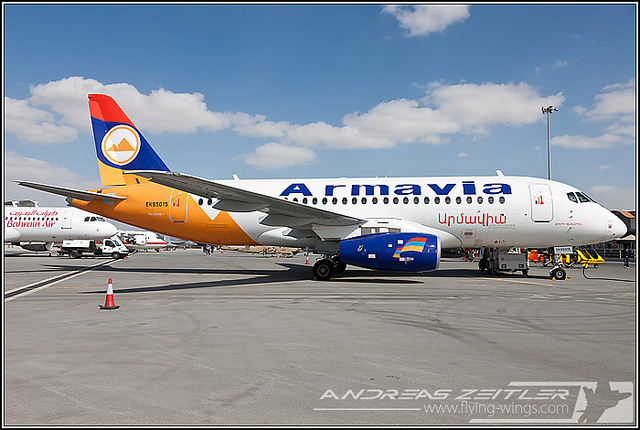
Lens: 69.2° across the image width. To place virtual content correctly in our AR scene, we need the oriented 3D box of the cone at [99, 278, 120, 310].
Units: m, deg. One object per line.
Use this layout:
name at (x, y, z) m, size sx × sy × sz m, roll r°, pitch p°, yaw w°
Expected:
cone at (-5.401, 1.979, 11.966) m, size 0.463 × 0.716 × 1.181 m, roll 5°, pitch -5°, yaw -23°
